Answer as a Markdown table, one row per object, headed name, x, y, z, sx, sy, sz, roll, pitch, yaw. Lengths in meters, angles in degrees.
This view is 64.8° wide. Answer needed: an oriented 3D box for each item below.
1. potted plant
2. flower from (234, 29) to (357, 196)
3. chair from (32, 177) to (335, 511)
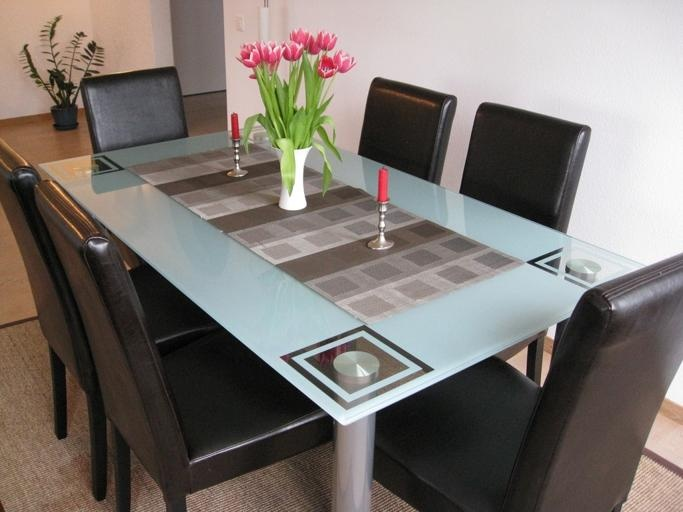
| name | x | y | z | sx | sy | sz | roll | pitch | yaw |
| --- | --- | --- | --- | --- | --- | --- | --- | --- | --- |
| potted plant | -2.958 | -1.792 | 5.648 | 0.630 | 0.795 | 0.685 | 3 | 25 | -8 |
| flower | -0.178 | -0.486 | 1.896 | 0.395 | 0.530 | 0.353 | 3 | 16 | -8 |
| chair | -0.450 | 0.272 | 1.604 | 0.583 | 1.035 | 0.587 | -17 | 38 | -26 |
